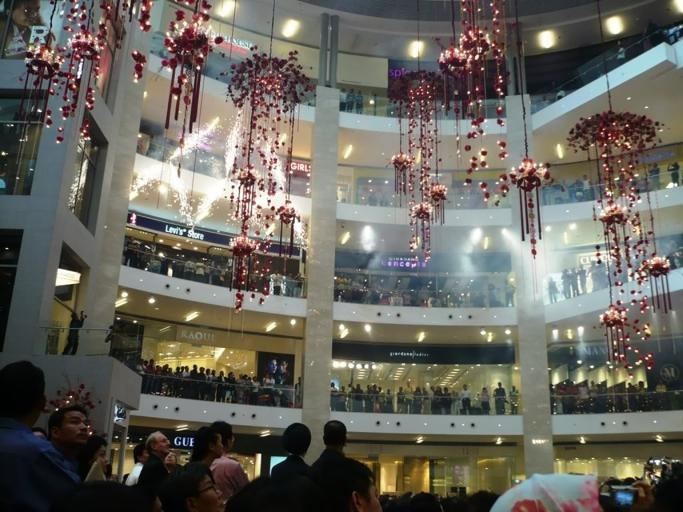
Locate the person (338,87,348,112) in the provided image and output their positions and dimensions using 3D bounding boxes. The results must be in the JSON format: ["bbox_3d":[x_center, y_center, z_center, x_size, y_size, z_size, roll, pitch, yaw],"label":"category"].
[{"bbox_3d":[0.046,-6.591,22.958,0.406,1.143,0.222,13,-22,-28],"label":"person"}]

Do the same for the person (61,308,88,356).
[{"bbox_3d":[-6.305,1.780,12.870,0.316,1.300,1.840,11,-21,-24],"label":"person"}]

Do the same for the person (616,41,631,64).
[{"bbox_3d":[10.154,-7.356,19.678,0.399,1.041,0.370,-13,-24,38],"label":"person"}]
